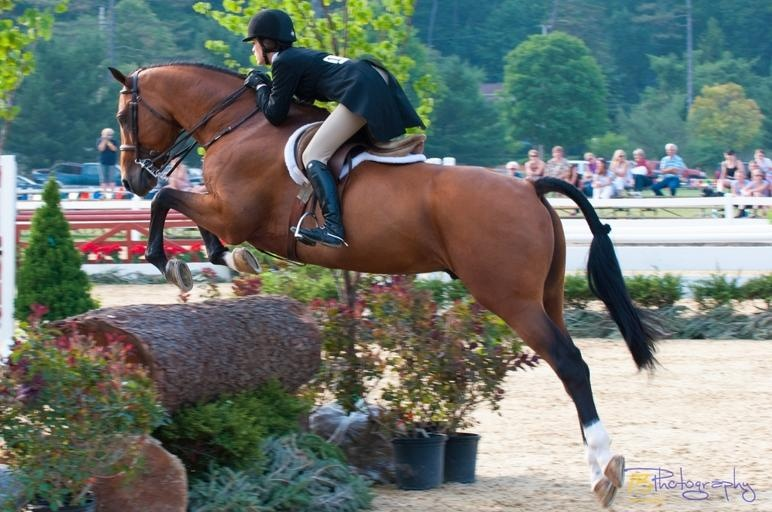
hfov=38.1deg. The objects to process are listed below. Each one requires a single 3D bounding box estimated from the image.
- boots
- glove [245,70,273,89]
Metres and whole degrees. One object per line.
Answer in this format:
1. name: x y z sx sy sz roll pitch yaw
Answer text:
1. boots: -0.576 -0.438 9.487 0.449 0.730 0.216 -2 4 10
2. glove: -1.127 -1.567 9.992 0.204 0.092 0.237 -7 22 -33
